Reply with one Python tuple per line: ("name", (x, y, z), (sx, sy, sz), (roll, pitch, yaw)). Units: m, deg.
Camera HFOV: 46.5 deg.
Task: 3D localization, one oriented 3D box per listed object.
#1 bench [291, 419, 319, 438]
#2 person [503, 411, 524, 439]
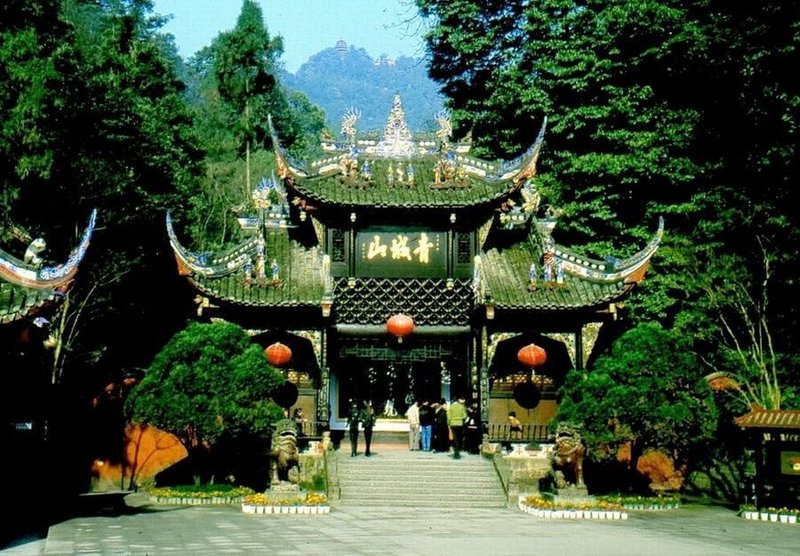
("bench", (-3.098, 4.870, 30.169), (1.071, 0.769, 0.590), (2, -33, -5))
("person", (3.984, 5.002, 32.126), (0.592, 0.902, 0.494), (-3, -13, 7))
